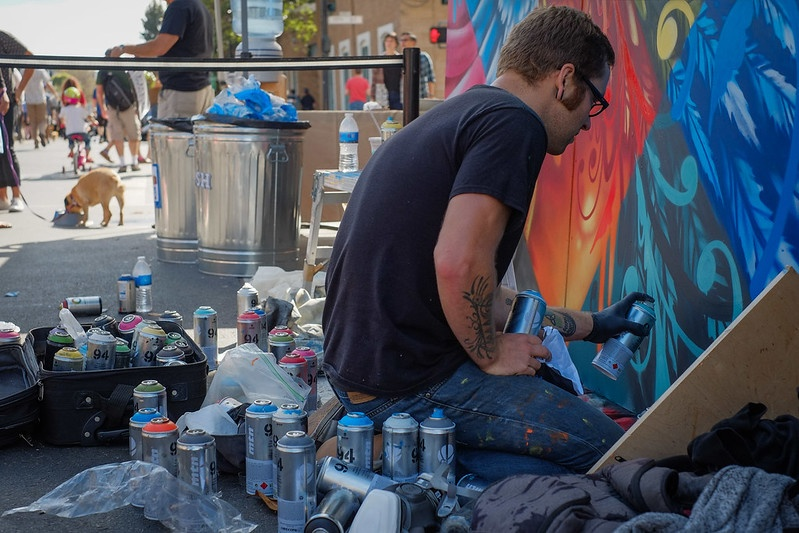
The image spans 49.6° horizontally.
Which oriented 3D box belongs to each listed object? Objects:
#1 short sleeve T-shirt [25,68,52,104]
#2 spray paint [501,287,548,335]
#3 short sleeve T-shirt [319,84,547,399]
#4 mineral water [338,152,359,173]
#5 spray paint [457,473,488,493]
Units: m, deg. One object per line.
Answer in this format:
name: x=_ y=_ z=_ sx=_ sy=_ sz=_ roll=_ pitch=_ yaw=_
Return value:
short sleeve T-shirt: x=-7.368 y=-3.739 z=17.824 sx=0.621 sy=0.750 sz=0.408 roll=-6 pitch=-3 yaw=22
spray paint: x=0.674 y=0.312 z=4.663 sx=0.196 sy=0.336 sz=0.196 roll=12 pitch=-15 yaw=22
short sleeve T-shirt: x=0.138 y=-0.101 z=4.275 sx=0.979 sy=1.543 sz=0.354 roll=7 pitch=10 yaw=24
mineral water: x=-0.448 y=-0.944 z=7.833 sx=0.169 sy=0.164 sz=0.168 roll=1 pitch=4 yaw=-26
spray paint: x=0.368 y=1.104 z=4.367 sx=0.084 sy=0.083 sz=0.082 roll=9 pitch=28 yaw=31
